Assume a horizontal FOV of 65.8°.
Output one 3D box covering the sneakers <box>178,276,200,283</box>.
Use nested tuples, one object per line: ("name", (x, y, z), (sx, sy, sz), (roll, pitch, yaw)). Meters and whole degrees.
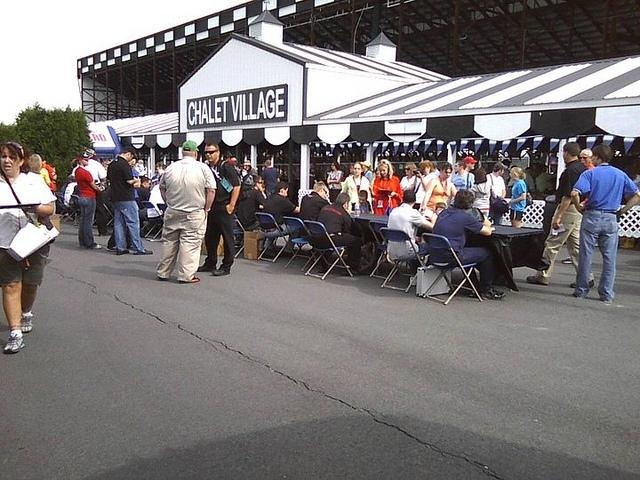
("sneakers", (-2.052, 0.615, 7.604), (0.291, 0.150, 0.116), (-4, 7, -6))

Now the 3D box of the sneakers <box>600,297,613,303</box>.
("sneakers", (3.913, 0.806, 6.743), (0.146, 0.075, 0.069), (-2, 2, 4))

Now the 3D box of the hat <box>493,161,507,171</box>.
("hat", (3.904, -1.587, 10.692), (0.211, 0.239, 0.182), (-22, 26, -5))

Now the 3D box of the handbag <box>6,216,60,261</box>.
("handbag", (-2.705, 0.002, 4.616), (0.427, 0.351, 0.287), (-6, 10, -39))

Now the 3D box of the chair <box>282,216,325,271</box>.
("chair", (-0.348, -0.023, 8.979), (0.626, 1.232, 0.853), (5, 16, 24))

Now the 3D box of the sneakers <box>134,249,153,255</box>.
("sneakers", (-3.645, 0.226, 10.050), (0.355, 0.170, 0.126), (-2, 5, -25))

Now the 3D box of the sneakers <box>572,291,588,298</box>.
("sneakers", (3.675, 0.750, 6.983), (0.201, 0.102, 0.091), (-6, 9, -14))

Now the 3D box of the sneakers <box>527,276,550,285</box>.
("sneakers", (3.437, 0.623, 7.780), (0.323, 0.159, 0.121), (10, 14, 40))

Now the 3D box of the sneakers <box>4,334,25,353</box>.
("sneakers", (-2.929, 0.980, 4.699), (0.094, 0.141, 0.286), (1, -8, -13))

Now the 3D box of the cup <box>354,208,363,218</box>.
("cup", (0.705, -0.505, 9.141), (0.140, 0.229, 0.177), (-4, 7, -8))

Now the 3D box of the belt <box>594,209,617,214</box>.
("belt", (3.878, -0.391, 6.660), (0.334, 0.054, 0.071), (-2, 9, -16))

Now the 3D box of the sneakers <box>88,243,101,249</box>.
("sneakers", (-4.969, 0.119, 10.759), (0.241, 0.167, 0.088), (-9, 25, -25))

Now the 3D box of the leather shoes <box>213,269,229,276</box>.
("leather shoes", (-1.689, 0.534, 8.258), (0.095, 0.132, 0.287), (-3, -6, 42))

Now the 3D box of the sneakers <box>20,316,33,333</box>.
("sneakers", (-3.105, 0.871, 5.162), (0.156, 0.217, 0.457), (2, -8, -31))

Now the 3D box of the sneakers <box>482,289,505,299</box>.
("sneakers", (2.489, 0.747, 7.023), (0.358, 0.186, 0.144), (-1, 9, -8))
